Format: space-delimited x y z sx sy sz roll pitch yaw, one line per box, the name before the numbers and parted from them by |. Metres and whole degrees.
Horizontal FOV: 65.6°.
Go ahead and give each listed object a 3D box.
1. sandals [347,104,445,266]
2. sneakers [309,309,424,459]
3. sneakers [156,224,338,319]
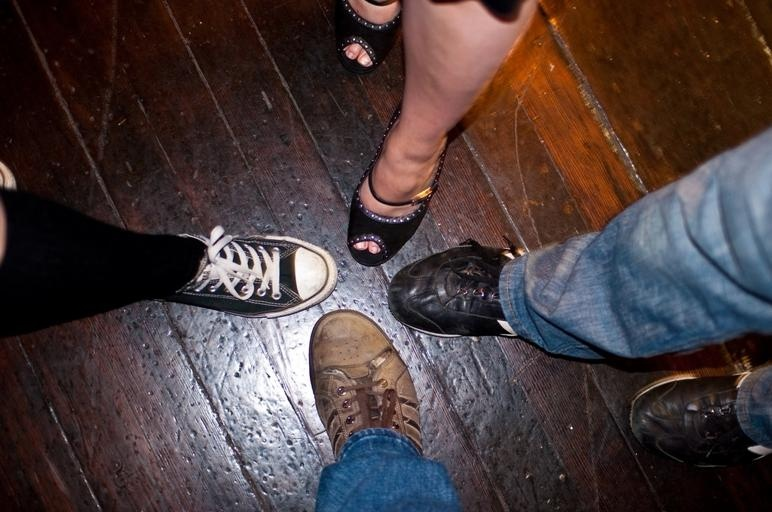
sandals | 0.022 -0.211 1.959 0.222 0.148 0.623 18 98 -1
sneakers | -0.082 0.431 2.020 0.244 0.214 0.558 -14 94 -3
sneakers | -0.399 0.063 1.986 0.630 0.255 0.249 1 87 1
